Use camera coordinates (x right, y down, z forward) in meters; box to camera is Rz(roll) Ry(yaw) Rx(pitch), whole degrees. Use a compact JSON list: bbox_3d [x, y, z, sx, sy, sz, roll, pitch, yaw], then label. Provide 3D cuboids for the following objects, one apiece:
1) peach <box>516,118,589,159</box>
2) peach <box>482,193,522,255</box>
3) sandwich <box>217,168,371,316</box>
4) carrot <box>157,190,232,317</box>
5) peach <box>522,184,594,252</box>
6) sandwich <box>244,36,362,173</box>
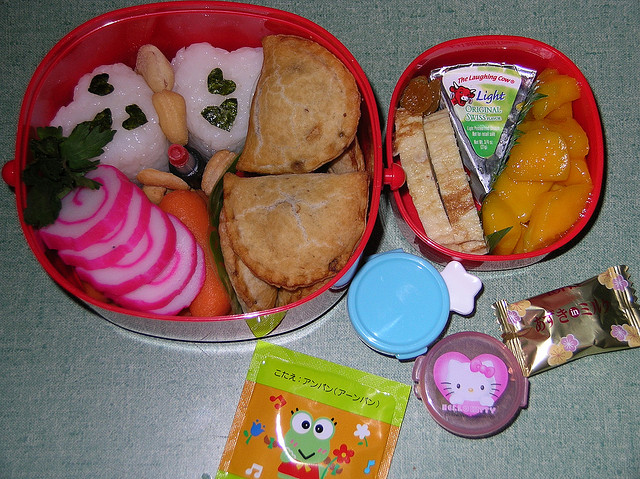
[{"bbox_3d":[0.588,-0.262,1.467,0.129,0.034,0.095,27,53,10],"label":"peach"},{"bbox_3d":[0.450,-0.049,1.467,0.086,0.134,0.056,-6,36,-8],"label":"peach"},{"bbox_3d":[-0.072,0.006,1.348,0.352,0.182,0.324,7,76,0],"label":"sandwich"},{"bbox_3d":[-0.284,0.031,1.369,0.146,0.299,0.164,-7,39,-18],"label":"carrot"},{"bbox_3d":[0.579,-0.065,1.426,0.197,0.079,0.125,-18,77,-6],"label":"peach"},{"bbox_3d":[-0.033,-0.303,1.342,0.260,0.115,0.313,10,76,0],"label":"sandwich"}]
